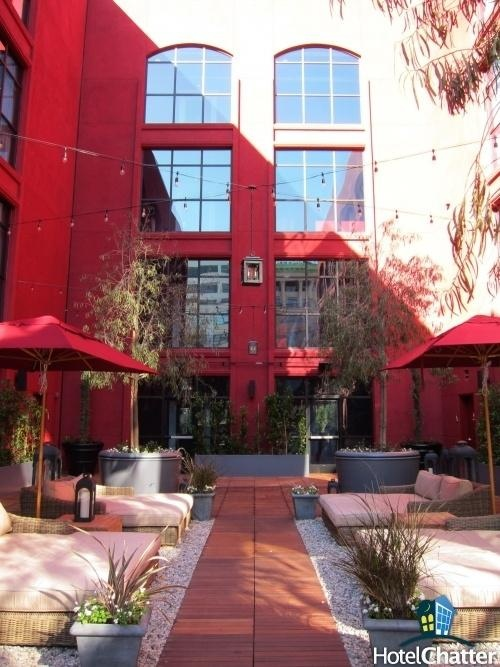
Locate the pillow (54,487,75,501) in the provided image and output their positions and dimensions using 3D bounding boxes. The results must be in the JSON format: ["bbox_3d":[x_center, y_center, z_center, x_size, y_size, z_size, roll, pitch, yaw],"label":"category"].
[{"bbox_3d":[-2.045,1.763,5.961,0.156,0.155,0.043,29,-66,-34],"label":"pillow"}]

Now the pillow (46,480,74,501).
[{"bbox_3d":[-2.088,1.726,5.993,0.240,0.112,0.312,15,-5,2],"label":"pillow"}]

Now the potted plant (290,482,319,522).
[{"bbox_3d":[0.793,2.480,7.954,0.408,0.569,0.408,0,-13,-2],"label":"potted plant"}]
